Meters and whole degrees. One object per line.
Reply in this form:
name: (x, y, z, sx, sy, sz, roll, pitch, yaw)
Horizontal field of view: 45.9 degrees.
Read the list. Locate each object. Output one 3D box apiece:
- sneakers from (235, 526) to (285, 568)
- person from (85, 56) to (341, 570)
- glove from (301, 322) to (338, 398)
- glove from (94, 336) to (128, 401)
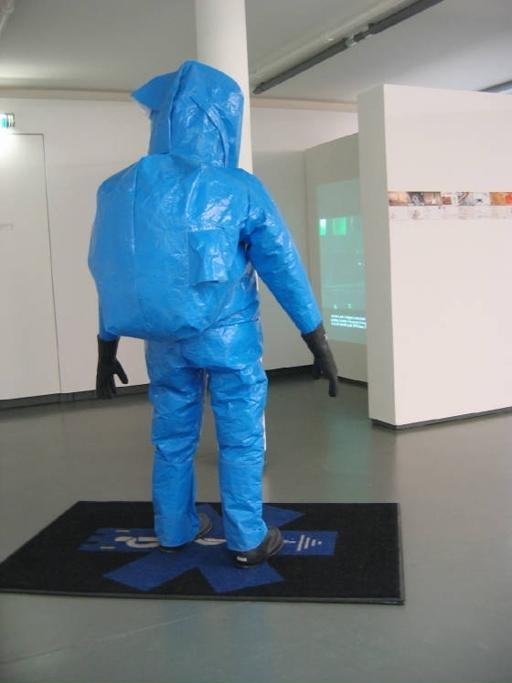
sneakers: (0.018, 0.771, 2.287, 0.082, 0.083, 0.196, 6, 12, 30)
person: (-0.186, -0.074, 2.232, 0.708, 1.841, 0.518, -9, 8, -44)
glove: (0.262, 0.086, 2.374, 0.105, 0.338, 0.103, -22, 49, -8)
glove: (-0.642, 0.110, 2.653, 0.145, 0.293, 0.108, -2, 22, 7)
